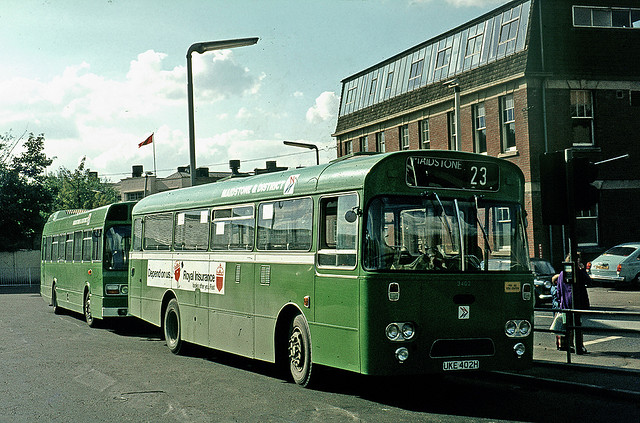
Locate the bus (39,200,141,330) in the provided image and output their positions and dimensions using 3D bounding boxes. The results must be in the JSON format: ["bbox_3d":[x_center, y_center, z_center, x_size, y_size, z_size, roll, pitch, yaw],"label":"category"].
[{"bbox_3d":[-8.709,1.941,28.181,2.951,4.278,9.513,-2,-2,-32],"label":"bus"}]

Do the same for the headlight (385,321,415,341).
[{"bbox_3d":[1.629,2.398,14.205,0.632,0.434,0.350,1,-4,-7],"label":"headlight"}]

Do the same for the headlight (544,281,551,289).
[{"bbox_3d":[8.760,2.798,27.115,0.238,0.232,0.343,0,3,14],"label":"headlight"}]

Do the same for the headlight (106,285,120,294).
[{"bbox_3d":[-6.867,2.567,23.424,0.400,0.279,0.087,-2,4,-17],"label":"headlight"}]

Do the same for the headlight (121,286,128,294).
[{"bbox_3d":[-6.522,2.594,23.538,0.247,0.249,0.079,6,0,-16],"label":"headlight"}]

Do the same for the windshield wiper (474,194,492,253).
[{"bbox_3d":[3.426,0.301,14.878,0.053,1.292,0.088,-5,-18,-24],"label":"windshield wiper"}]
